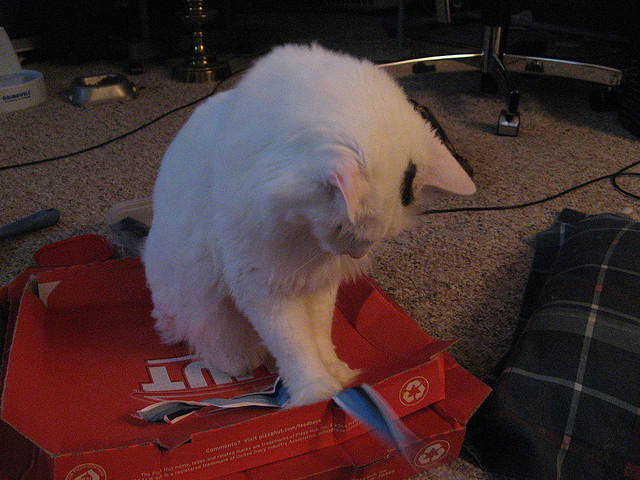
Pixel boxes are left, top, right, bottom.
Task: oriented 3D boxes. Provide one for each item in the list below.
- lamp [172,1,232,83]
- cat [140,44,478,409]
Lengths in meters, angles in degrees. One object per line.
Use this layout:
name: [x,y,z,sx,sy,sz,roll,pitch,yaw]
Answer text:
lamp: [-0.498,-0.803,2.426,0.244,0.277,0.271,-8,39,-9]
cat: [-0.043,-0.013,0.861,0.401,0.436,0.315,27,46,31]
